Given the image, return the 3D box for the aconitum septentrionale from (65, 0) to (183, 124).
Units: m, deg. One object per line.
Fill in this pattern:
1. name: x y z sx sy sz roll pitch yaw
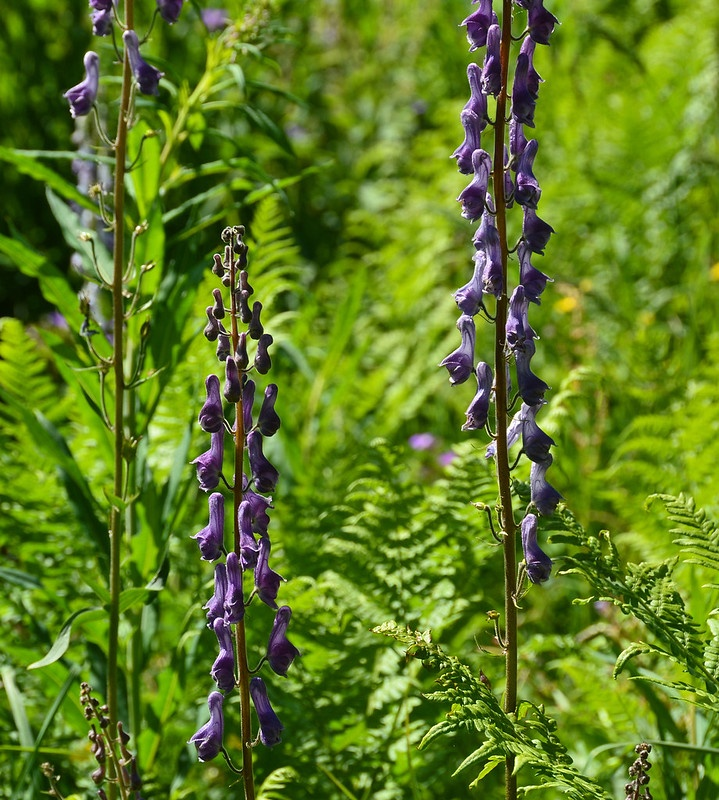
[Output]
1. aconitum septentrionale: -0.581 -0.846 4.279 0.299 0.286 0.193 -3 8 -4
